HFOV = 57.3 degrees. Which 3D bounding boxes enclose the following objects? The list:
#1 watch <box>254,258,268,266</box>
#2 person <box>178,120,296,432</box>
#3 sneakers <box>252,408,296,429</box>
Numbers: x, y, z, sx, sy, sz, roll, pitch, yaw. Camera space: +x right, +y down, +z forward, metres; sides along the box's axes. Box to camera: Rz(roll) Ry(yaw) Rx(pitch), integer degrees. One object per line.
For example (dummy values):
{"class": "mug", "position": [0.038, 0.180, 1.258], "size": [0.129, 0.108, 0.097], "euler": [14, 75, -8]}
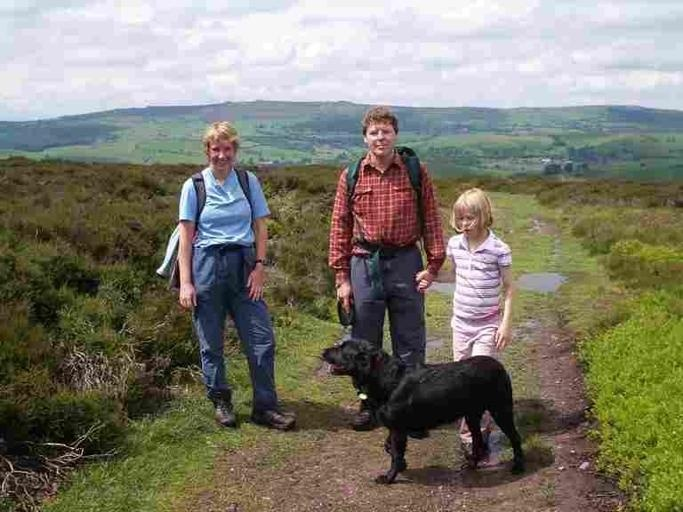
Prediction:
{"class": "watch", "position": [-0.966, 0.075, 7.449], "size": [0.116, 0.070, 0.124], "euler": [2, -2, 38]}
{"class": "person", "position": [-1.346, 0.283, 7.368], "size": [1.118, 3.634, 0.795], "euler": [-5, 14, -12]}
{"class": "sneakers", "position": [-0.827, 1.960, 7.661], "size": [0.489, 0.211, 0.220], "euler": [3, 5, 15]}
